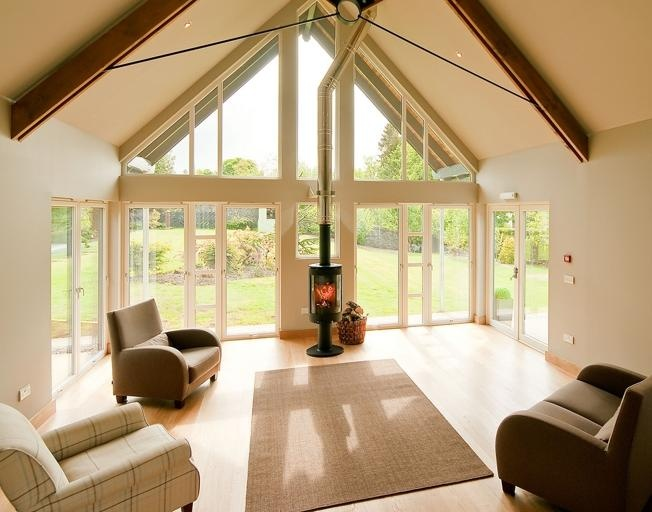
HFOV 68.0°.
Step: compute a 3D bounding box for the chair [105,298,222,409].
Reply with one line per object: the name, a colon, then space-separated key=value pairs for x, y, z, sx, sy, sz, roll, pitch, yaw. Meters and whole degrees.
chair: x=-1.979 y=1.251 z=6.270 sx=1.173 sy=1.386 sz=1.257 roll=0 pitch=2 yaw=2
